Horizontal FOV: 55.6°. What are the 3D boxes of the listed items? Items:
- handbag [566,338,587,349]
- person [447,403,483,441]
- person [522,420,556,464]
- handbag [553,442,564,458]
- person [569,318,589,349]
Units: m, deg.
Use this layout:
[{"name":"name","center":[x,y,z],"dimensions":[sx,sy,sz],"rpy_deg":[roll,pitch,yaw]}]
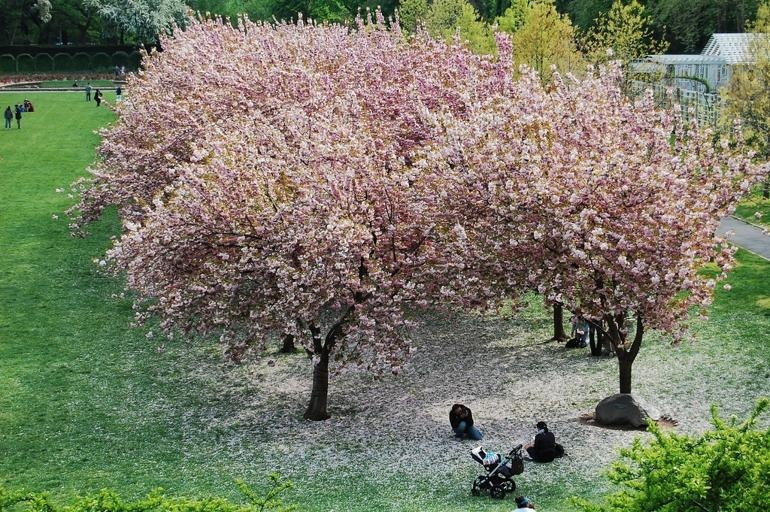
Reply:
[{"name":"handbag","center":[8.561,3.931,32.727],"dimensions":[0.741,0.226,0.491],"rpy_deg":[-4,0,-7]},{"name":"person","center":[2.899,5.866,26.086],"dimensions":[1.269,1.167,0.922],"rpy_deg":[0,11,27]},{"name":"person","center":[5.307,6.273,24.641],"dimensions":[1.185,1.172,0.920],"rpy_deg":[0,-2,-10]},{"name":"handbag","center":[5.876,6.580,24.677],"dimensions":[0.504,0.374,0.350],"rpy_deg":[0,6,-9]},{"name":"person","center":[8.729,3.394,32.579],"dimensions":[0.778,1.636,0.745],"rpy_deg":[-7,38,12]}]
